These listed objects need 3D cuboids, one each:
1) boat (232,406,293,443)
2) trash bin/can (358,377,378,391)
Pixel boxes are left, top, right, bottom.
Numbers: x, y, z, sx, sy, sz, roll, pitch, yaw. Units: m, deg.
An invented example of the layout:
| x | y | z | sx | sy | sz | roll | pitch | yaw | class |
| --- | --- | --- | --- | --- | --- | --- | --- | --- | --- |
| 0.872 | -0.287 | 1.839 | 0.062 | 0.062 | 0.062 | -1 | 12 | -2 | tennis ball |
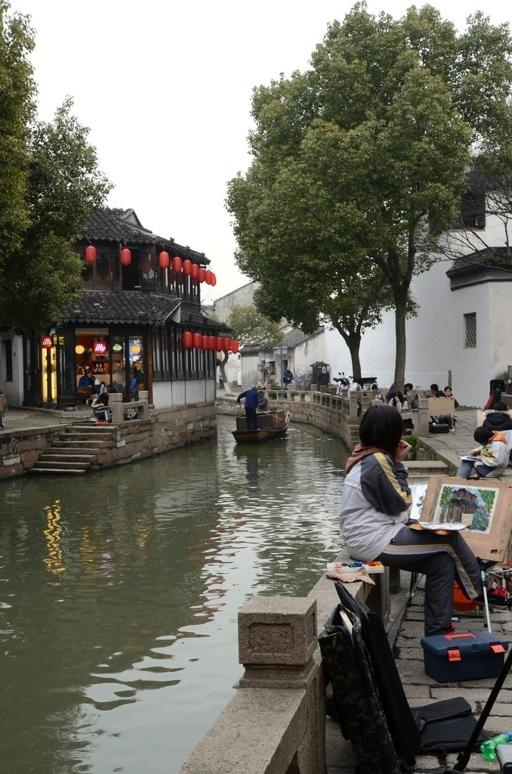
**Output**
| x | y | z | sx | sy | sz | roll | pitch | yaw | class |
| --- | --- | --- | --- | --- | --- | --- | --- | --- | --- |
| 0.285 | 1.556 | 29.268 | 1.064 | 0.736 | 2.150 | 2 | 7 | 20 | boat |
| 5.495 | -0.199 | 35.873 | 1.005 | 0.683 | 1.030 | -1 | -6 | 9 | trash bin/can |
